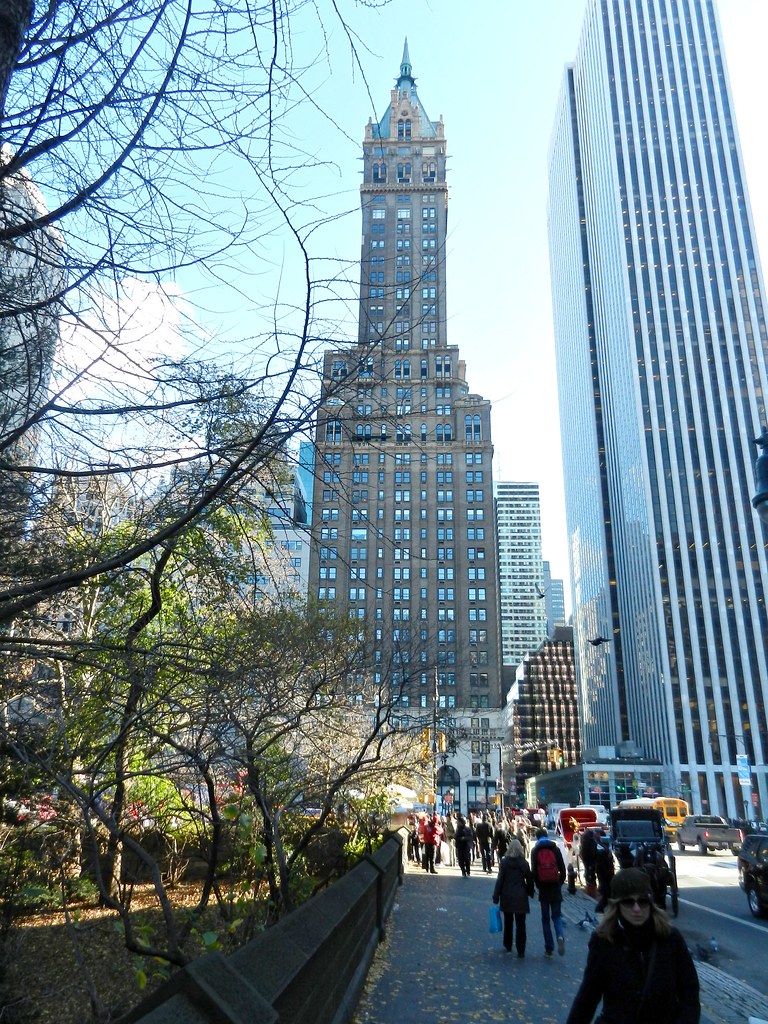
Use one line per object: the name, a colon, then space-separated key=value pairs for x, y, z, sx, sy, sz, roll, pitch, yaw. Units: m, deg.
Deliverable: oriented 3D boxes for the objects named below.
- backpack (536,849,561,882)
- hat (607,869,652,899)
backpack: x=2.424 y=5.286 z=11.860 sx=0.326 sy=0.254 sz=0.460 roll=-3 pitch=25 yaw=13
hat: x=1.185 y=1.798 z=3.827 sx=0.168 sy=0.110 sz=0.171 roll=2 pitch=-24 yaw=2
